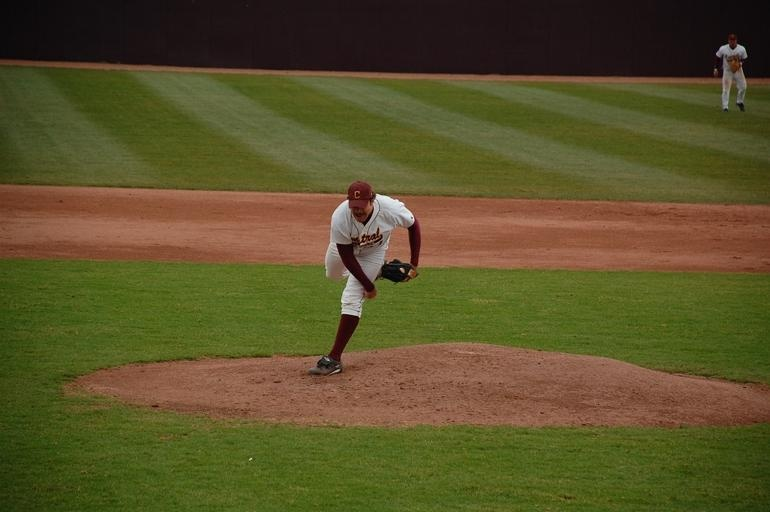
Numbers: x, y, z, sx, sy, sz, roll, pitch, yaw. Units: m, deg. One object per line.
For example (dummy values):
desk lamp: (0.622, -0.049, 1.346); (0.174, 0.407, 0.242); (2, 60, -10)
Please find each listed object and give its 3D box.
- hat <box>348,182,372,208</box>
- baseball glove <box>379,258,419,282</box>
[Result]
hat: (-0.480, -1.214, 27.016); (0.468, 0.268, 0.512); (1, 35, 5)
baseball glove: (0.225, 0.267, 27.435); (0.586, 0.202, 0.551); (6, -7, -33)
